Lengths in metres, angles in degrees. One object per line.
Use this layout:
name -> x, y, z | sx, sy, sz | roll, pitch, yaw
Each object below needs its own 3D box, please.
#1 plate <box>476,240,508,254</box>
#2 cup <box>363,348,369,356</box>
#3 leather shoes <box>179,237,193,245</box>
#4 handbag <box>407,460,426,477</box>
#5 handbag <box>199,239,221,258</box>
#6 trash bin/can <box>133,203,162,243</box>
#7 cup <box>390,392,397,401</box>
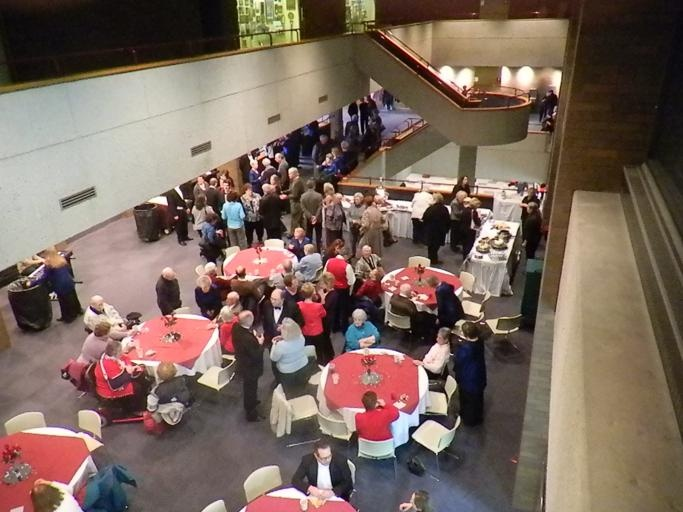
plate -> 3.062, -0.187, 10.113 | 0.447, 0.104, 0.335 | 11, 36, 31
cup -> 0.361, 1.393, 7.129 | 0.060, 0.096, 0.033 | -1, -15, 6
leather shoes -> -3.900, -0.370, 12.274 | 0.170, 0.096, 0.252 | -6, 29, -18
handbag -> 0.998, 2.797, 6.495 | 0.215, 0.145, 0.092 | 35, 3, 22
handbag -> -2.762, -0.172, 10.382 | 0.245, 0.317, 0.711 | 4, -9, -6
trash bin/can -> -4.837, -0.840, 12.300 | 0.589, 0.911, 0.545 | -3, 24, -16
cup -> 0.671, 1.812, 6.328 | 0.062, 0.071, 0.073 | -2, 29, 3
